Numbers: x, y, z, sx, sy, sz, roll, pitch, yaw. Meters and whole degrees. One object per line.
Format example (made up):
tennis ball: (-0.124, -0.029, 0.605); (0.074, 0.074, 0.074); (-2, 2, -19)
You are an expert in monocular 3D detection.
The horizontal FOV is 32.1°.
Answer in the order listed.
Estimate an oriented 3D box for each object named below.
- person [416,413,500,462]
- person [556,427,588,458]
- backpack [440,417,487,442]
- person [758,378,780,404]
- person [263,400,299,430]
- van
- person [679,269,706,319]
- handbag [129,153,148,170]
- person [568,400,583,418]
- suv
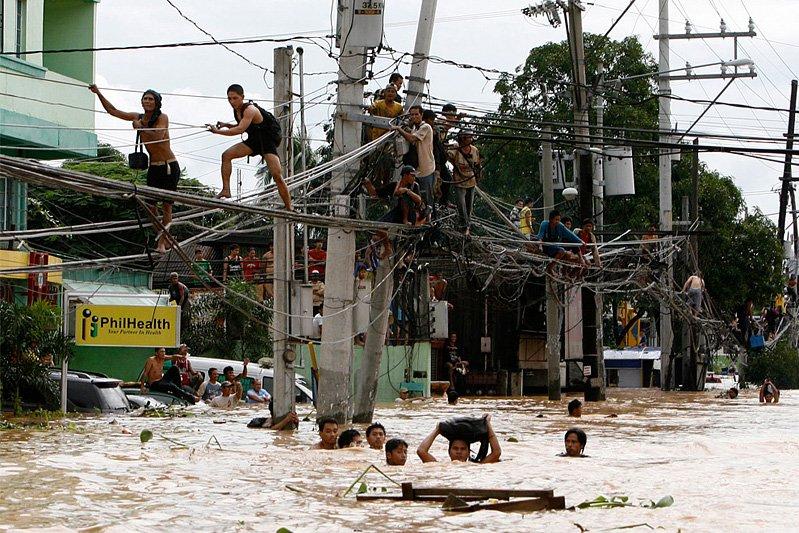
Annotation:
person: (1.245, 3.554, 27.535); (1.716, 1.233, 0.660); (0, -21, 7)
person: (3.638, 3.570, 28.089); (0.659, 0.690, 0.526); (1, -20, 24)
backpack: (1.311, 3.173, 27.513); (0.621, 0.274, 0.608); (-1, -2, -3)
person: (11.321, 3.726, 42.150); (0.551, 0.761, 2.623); (0, -5, 15)
person: (-2.885, 3.459, 31.749); (0.855, 0.736, 0.491); (22, -28, -40)
van: (-4.204, 3.271, 39.141); (2.843, 1.192, 1.592); (0, -2, 3)
person: (9.155, 0.880, 43.202); (0.681, 1.751, 0.625); (13, -28, -4)
handbag: (-5.145, -2.075, 27.240); (0.382, 0.357, 0.562); (2, -5, -11)
person: (4.446, 3.551, 34.853); (0.356, 0.420, 0.902); (0, -5, 8)
suv: (-7.849, 3.026, 33.023); (2.238, 1.021, 1.188); (8, -5, 4)
